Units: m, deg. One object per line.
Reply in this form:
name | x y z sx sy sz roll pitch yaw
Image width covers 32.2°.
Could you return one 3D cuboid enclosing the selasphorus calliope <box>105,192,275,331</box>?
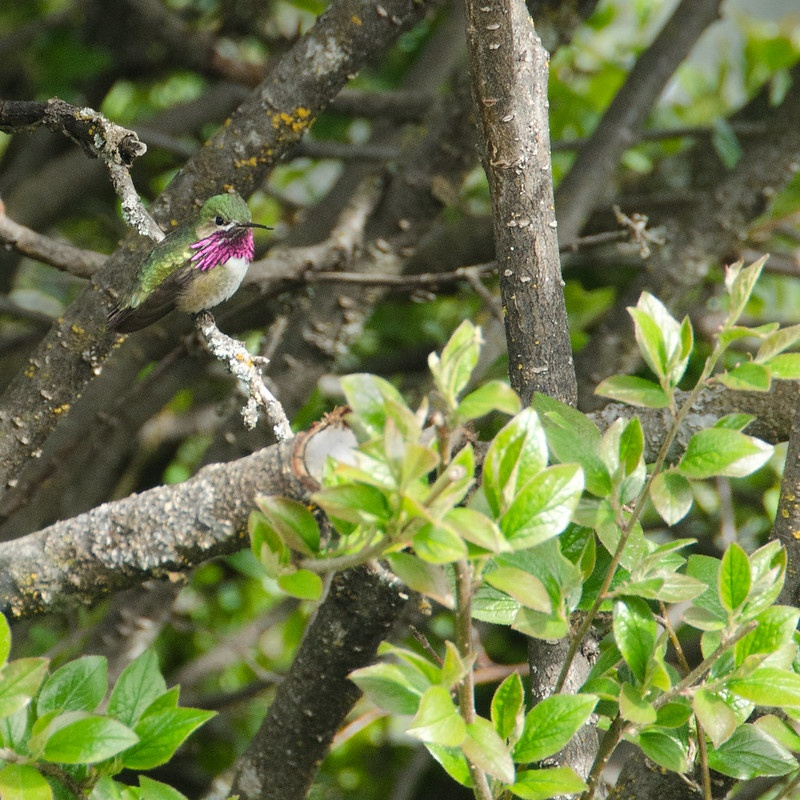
selasphorus calliope | -0.444 -0.269 2.731 0.312 0.279 0.168 -1 29 4
